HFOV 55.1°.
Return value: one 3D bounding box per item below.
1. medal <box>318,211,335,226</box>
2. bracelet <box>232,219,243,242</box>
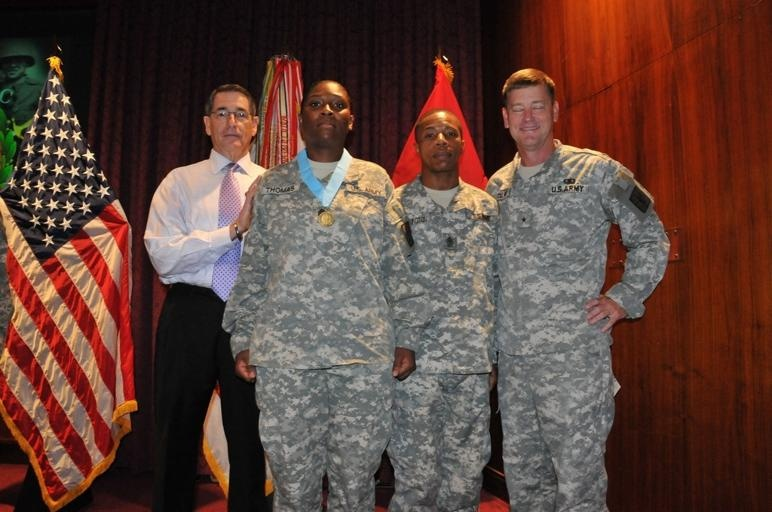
[{"bbox_3d":[-0.296,-0.184,3.645,0.072,0.070,0.019,-1,-10,0],"label":"medal"},{"bbox_3d":[-0.777,-0.130,3.948,0.036,0.092,0.069,-7,22,-1],"label":"bracelet"}]
